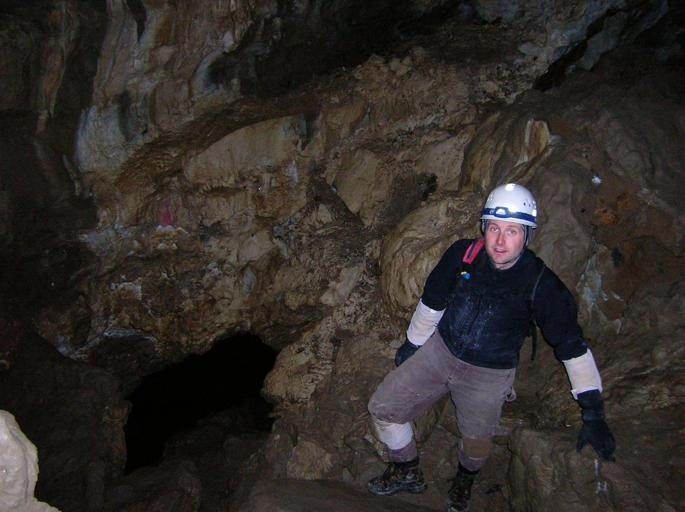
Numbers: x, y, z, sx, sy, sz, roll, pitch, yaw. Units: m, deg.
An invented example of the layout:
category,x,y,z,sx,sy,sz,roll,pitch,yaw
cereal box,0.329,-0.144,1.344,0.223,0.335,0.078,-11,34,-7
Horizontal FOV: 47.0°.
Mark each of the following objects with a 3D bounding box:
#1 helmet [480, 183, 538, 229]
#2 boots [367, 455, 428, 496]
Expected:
category,x,y,z,sx,sy,sz,roll,pitch,yaw
helmet,1.657,-0.444,7.821,0.404,0.412,0.504,14,24,18
boots,0.613,2.215,8.325,0.739,0.290,0.512,4,-38,7
